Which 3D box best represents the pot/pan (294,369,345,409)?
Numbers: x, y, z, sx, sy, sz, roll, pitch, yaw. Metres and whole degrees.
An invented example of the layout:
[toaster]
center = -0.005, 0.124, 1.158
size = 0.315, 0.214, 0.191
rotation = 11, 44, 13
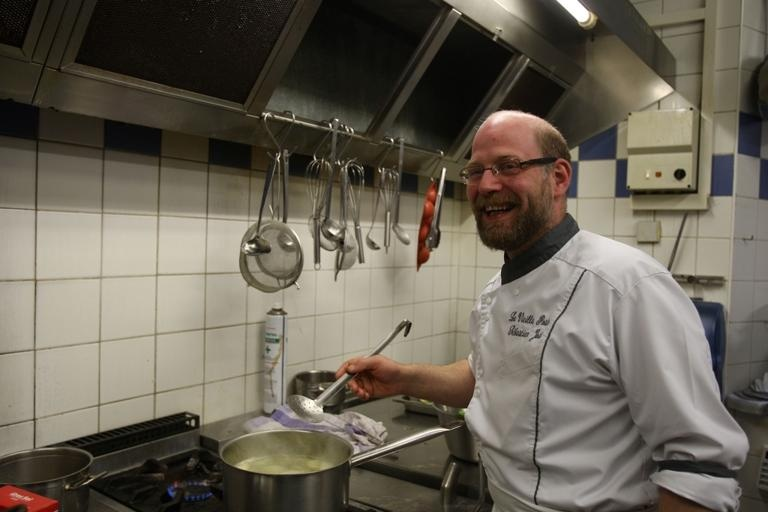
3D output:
[pot/pan]
center = -0.275, 0.541, 2.378
size = 0.238, 0.182, 0.191
rotation = 1, -2, 13
